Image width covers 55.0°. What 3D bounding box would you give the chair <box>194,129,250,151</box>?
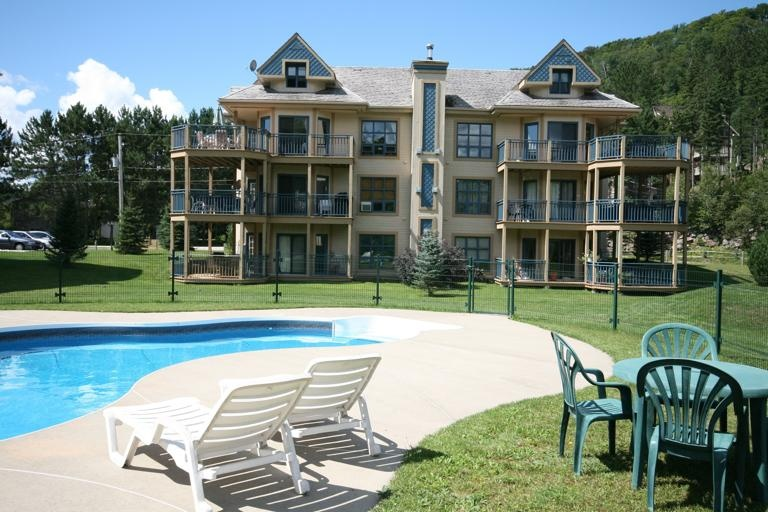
[{"bbox_3d":[-9.763,-7.033,44.346,3.018,0.953,0.927,2,-1,4],"label":"chair"}]

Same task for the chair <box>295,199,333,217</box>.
[{"bbox_3d":[-4.465,-3.089,45.716,1.352,0.905,1.418,0,0,-1],"label":"chair"}]

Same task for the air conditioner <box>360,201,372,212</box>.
[{"bbox_3d":[-1.200,-3.205,47.892,0.621,0.660,0.683,0,-6,2],"label":"air conditioner"}]

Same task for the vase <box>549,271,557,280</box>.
[{"bbox_3d":[10.410,1.260,45.811,0.375,0.317,0.396,0,-6,-3],"label":"vase"}]
